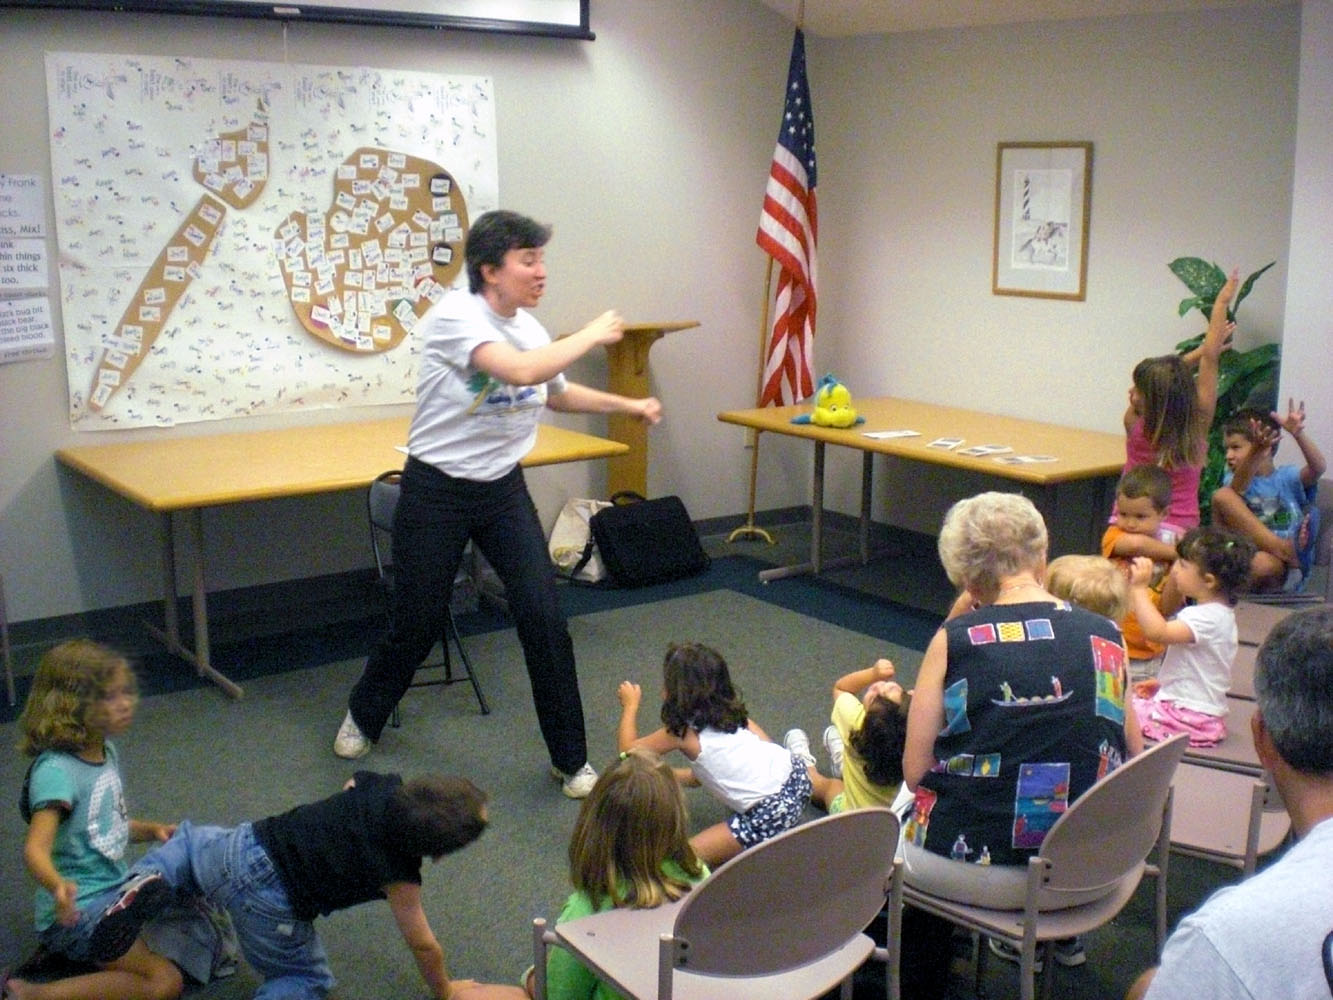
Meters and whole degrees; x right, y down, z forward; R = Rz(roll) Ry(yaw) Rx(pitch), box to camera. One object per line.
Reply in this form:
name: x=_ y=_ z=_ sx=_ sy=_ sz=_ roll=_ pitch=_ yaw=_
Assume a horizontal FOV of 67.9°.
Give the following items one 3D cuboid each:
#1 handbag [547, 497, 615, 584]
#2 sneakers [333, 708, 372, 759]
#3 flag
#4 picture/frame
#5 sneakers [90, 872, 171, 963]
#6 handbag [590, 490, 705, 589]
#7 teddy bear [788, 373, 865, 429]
handbag: x=-0.526 y=0.145 z=6.057 sx=0.308 sy=0.611 sz=0.537 roll=3 pitch=37 yaw=-4
sneakers: x=-1.232 y=0.915 z=3.876 sx=0.109 sy=0.085 sz=0.204 roll=1 pitch=6 yaw=-11
flag: x=0.802 y=-1.776 z=6.287 sx=0.303 sy=2.341 sz=0.436 roll=8 pitch=15 yaw=33
picture/frame: x=2.154 y=-1.608 z=5.715 sx=0.097 sy=0.881 sz=0.617 roll=-8 pitch=15 yaw=-33
sneakers: x=-1.288 y=0.981 z=2.395 sx=0.221 sy=0.135 sz=0.072 roll=-48 pitch=38 yaw=-17
handbag: x=-0.102 y=0.132 z=5.881 sx=0.602 sy=0.675 sz=0.237 roll=-12 pitch=33 yaw=25
teddy bear: x=0.954 y=-0.609 z=5.831 sx=0.310 sy=0.186 sz=0.441 roll=2 pitch=9 yaw=0
